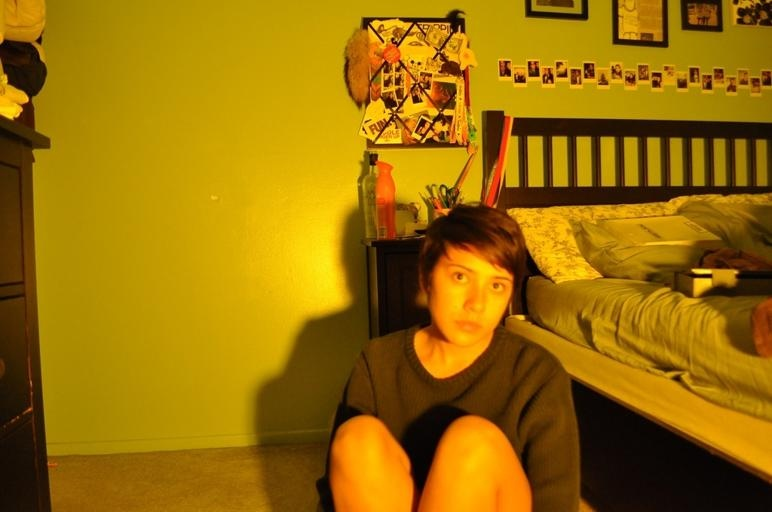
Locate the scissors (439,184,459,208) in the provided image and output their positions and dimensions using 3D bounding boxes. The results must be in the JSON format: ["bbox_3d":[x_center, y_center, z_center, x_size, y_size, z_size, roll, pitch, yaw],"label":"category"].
[{"bbox_3d":[0.302,-0.282,2.891,0.043,0.091,0.121,-23,-8,-7],"label":"scissors"}]
